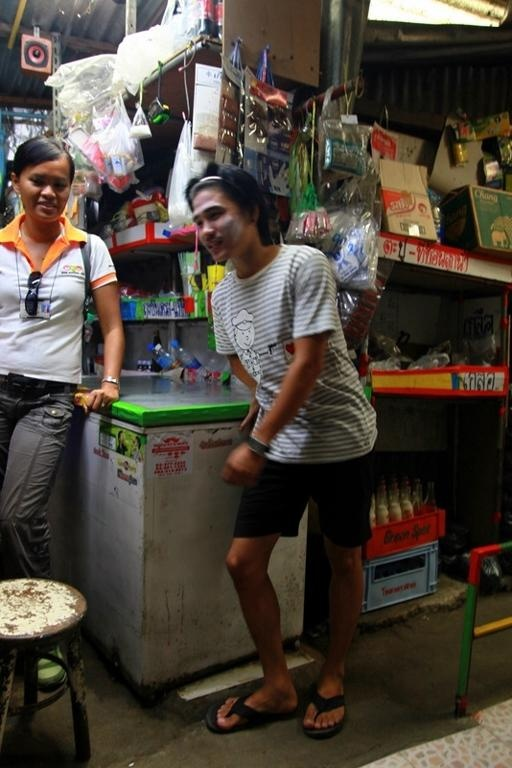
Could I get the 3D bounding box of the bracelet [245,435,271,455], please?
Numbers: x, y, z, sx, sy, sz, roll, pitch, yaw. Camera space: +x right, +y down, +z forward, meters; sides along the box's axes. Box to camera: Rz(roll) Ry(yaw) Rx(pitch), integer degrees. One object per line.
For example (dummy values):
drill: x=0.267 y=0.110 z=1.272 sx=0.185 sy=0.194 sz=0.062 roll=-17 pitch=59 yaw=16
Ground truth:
bracelet: x=0.009 y=0.152 z=1.492 sx=0.050 sy=0.032 sz=0.051 roll=28 pitch=0 yaw=-2

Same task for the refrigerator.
refrigerator: x=-0.357 y=0.505 z=2.401 sx=0.804 sy=1.208 sz=1.428 roll=2 pitch=2 yaw=-29

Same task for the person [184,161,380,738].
person: x=0.081 y=0.225 z=1.710 sx=0.506 sy=1.650 sz=0.587 roll=2 pitch=-1 yaw=19

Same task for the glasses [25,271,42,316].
glasses: x=-0.691 y=-0.283 z=1.774 sx=0.044 sy=0.127 sz=0.026 roll=2 pitch=-1 yaw=-20

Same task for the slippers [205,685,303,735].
slippers: x=-0.019 y=0.996 z=1.741 sx=0.202 sy=0.056 sz=0.113 roll=4 pitch=1 yaw=-11
